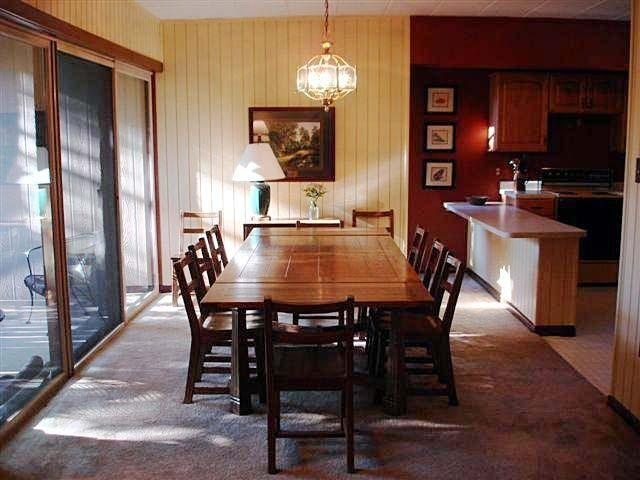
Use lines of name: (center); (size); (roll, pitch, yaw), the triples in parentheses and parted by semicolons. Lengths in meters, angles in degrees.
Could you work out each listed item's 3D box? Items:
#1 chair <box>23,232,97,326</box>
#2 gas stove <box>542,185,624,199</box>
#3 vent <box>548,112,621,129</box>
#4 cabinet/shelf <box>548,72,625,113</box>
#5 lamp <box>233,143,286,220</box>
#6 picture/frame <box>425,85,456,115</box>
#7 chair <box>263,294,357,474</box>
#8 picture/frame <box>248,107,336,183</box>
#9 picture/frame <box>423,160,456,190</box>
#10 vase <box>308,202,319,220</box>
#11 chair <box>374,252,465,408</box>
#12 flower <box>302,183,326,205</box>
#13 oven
chair: (-1.969, 0.332, 4.005); (0.507, 0.654, 0.501); (1, 6, -20)
gas stove: (3.279, -0.594, 6.347); (0.935, 0.086, 0.623); (2, 13, 9)
vent: (3.394, -1.548, 6.627); (0.849, 0.167, 0.224); (-2, 13, -8)
cabinet/shelf: (3.266, -1.817, 6.302); (0.863, 0.421, 0.491); (1, 6, 6)
lamp: (-0.728, -0.649, 5.775); (0.517, 0.877, 0.501); (-6, 14, -22)
picture/frame: (1.569, -1.850, 6.650); (0.364, 0.363, 0.026); (0, 8, -4)
chair: (-0.100, 0.655, 3.517); (0.558, 1.013, 1.561); (-1, 13, -2)
picture/frame: (-0.339, -1.171, 6.044); (0.981, 0.837, 0.074); (0, 6, 0)
picture/frame: (1.569, -0.884, 6.761); (0.371, 0.369, 0.025); (0, 6, -3)
vase: (-0.083, -0.379, 6.147); (0.133, 0.238, 0.304); (-1, 13, -1)
chair: (0.658, 0.546, 4.017); (0.921, 1.390, 1.042); (0, 4, 2)
flower: (-0.056, -0.565, 6.175); (0.275, 0.251, 0.063); (-1, 7, -10)
oven: (3.225, -0.116, 6.377); (0.781, 0.766, 0.545); (6, -8, 5)
